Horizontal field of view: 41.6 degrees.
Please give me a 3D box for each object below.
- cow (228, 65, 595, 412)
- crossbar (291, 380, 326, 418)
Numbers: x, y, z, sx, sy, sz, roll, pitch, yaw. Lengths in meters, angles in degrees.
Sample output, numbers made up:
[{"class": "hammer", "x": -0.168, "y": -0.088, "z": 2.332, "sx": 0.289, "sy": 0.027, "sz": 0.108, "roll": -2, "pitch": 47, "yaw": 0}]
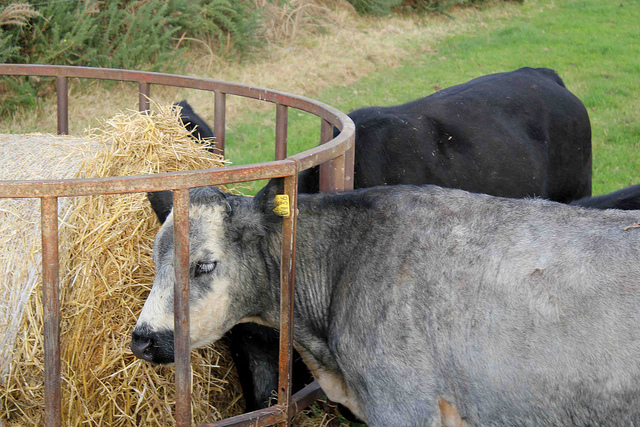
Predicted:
[{"class": "cow", "x": 0.529, "y": -0.349, "z": 7.362, "sx": 4.832, "sy": 2.469, "sz": 1.520, "roll": -6, "pitch": 7, "yaw": -39}, {"class": "crossbar", "x": -0.112, "y": 1.199, "z": 5.456, "sx": 0.076, "sy": 0.095, "sz": 0.438, "roll": 23, "pitch": 15, "yaw": 22}]
